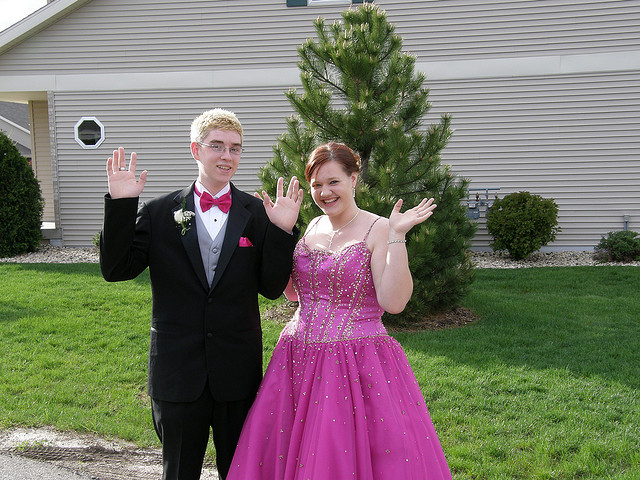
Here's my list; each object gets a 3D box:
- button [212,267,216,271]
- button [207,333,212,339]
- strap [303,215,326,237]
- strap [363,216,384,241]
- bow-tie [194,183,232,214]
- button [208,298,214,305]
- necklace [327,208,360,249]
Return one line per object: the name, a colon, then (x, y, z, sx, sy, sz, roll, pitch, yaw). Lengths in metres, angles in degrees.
button: (-0.909, 0.247, 5.497, 0.013, 0.023, 0.047, 4, 2, -38)
button: (-0.947, 0.817, 5.447, 0.045, 0.051, 0.012, 4, -2, -5)
strap: (-0.057, -0.155, 6.558, 0.028, 0.066, 0.445, -3, 42, 52)
strap: (0.479, -0.096, 5.703, 0.040, 0.149, 0.147, 44, 20, -15)
bow-tie: (-0.910, -0.374, 5.725, 0.303, 0.186, 0.381, 1, 19, 0)
button: (-0.939, 0.520, 5.454, 0.047, 0.054, 0.016, 0, 9, 0)
necklace: (0.198, -0.111, 5.851, 0.297, 0.340, 0.186, 6, 2, 8)
